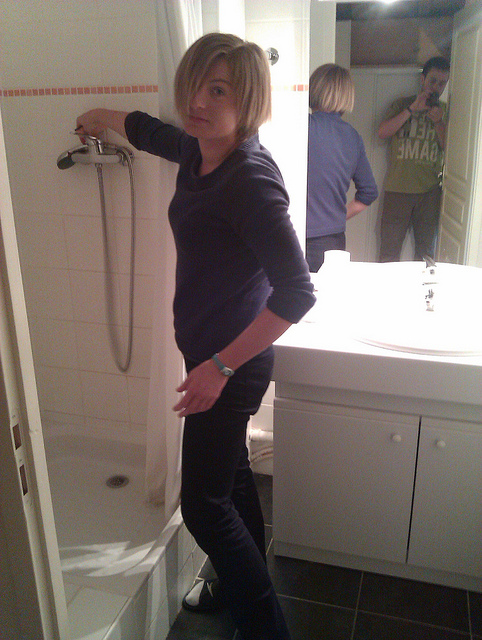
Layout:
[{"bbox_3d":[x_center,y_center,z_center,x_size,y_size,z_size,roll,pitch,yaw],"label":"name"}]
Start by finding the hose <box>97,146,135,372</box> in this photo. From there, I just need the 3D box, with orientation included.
[{"bbox_3d":[-0.452,-0.199,1.859,0.206,0.884,0.074,12,22,33],"label":"hose"}]

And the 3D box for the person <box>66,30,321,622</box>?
[{"bbox_3d":[-0.048,0.125,1.295,0.420,1.540,0.760,-5,20,-13],"label":"person"}]
